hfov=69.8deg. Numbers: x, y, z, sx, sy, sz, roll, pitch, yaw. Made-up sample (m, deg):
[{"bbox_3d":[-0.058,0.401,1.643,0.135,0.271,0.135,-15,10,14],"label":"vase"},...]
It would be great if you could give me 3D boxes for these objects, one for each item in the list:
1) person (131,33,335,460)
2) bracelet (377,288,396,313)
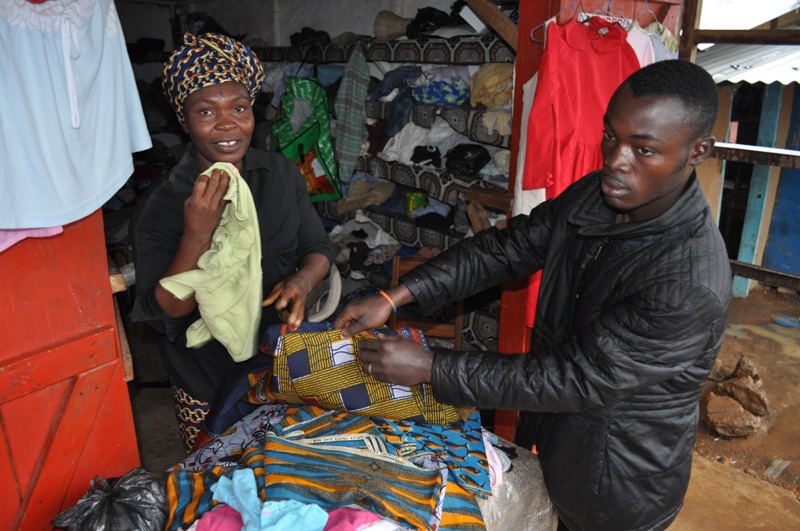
[{"bbox_3d":[-0.696,-0.039,2.442,0.756,1.779,0.696,3,20,1],"label":"person"},{"bbox_3d":[-0.040,0.141,2.319,0.019,0.075,0.078,-41,34,0],"label":"bracelet"}]
